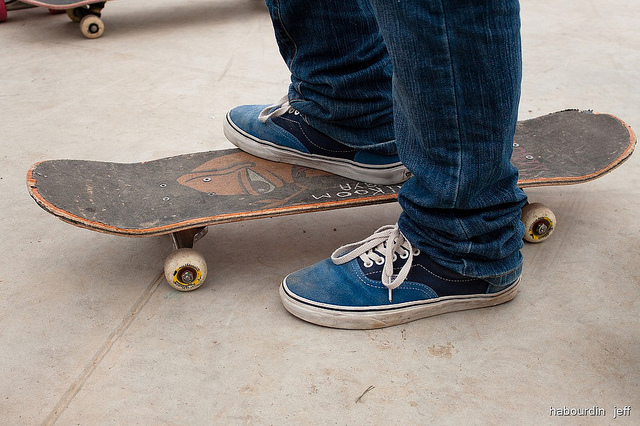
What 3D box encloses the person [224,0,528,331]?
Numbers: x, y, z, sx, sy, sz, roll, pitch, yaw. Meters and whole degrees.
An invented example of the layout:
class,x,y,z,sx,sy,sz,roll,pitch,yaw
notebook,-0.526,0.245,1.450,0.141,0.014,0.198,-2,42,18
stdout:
class,x,y,z,sx,sy,sz,roll,pitch,yaw
person,0.274,-0.176,2.610,0.964,1.317,1.249,-12,40,-16
